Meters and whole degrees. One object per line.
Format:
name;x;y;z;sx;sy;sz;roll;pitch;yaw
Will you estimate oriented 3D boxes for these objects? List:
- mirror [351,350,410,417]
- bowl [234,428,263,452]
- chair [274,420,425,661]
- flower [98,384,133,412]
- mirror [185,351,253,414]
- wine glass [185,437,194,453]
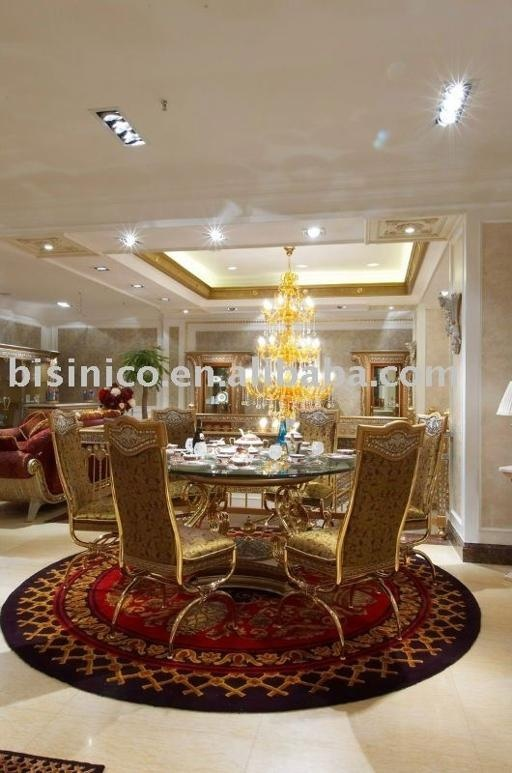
mirror;2.135;-0.074;9.009;1.115;1.338;0.246;0;-4;21
bowl;-0.048;0.373;3.967;0.151;0.143;0.198;2;2;-11
chair;0.494;0.653;2.577;0.459;1.006;0.572;2;-2;-32
flower;-1.550;0.111;5.956;0.346;0.322;0.419;1;-2;-19
mirror;-0.569;-0.099;9.111;1.059;1.066;0.462;-2;-7;11
wine glass;-0.479;0.399;3.869;0.094;0.104;0.100;1;-9;-2
